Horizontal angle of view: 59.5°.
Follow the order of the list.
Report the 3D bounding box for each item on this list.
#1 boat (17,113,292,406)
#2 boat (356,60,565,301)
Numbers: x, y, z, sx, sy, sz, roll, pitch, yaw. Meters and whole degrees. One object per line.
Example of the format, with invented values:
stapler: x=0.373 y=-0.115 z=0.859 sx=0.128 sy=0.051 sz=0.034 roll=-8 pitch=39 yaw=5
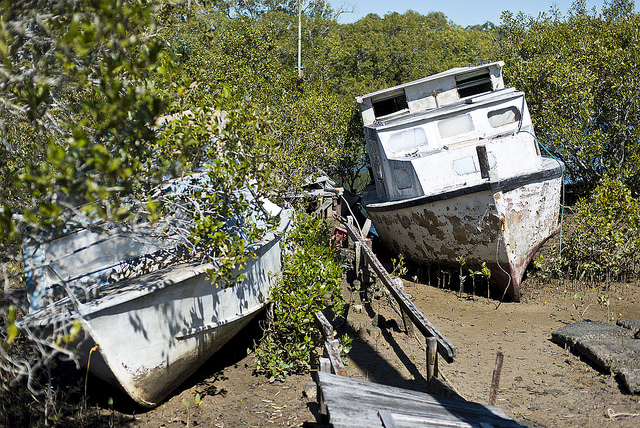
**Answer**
boat: x=-2.790 y=0.897 z=9.570 sx=3.999 sy=5.040 sz=3.644 roll=-3 pitch=4 yaw=0
boat: x=3.524 y=-1.000 z=14.847 sx=4.214 sy=6.389 sz=4.904 roll=-4 pitch=4 yaw=-13
